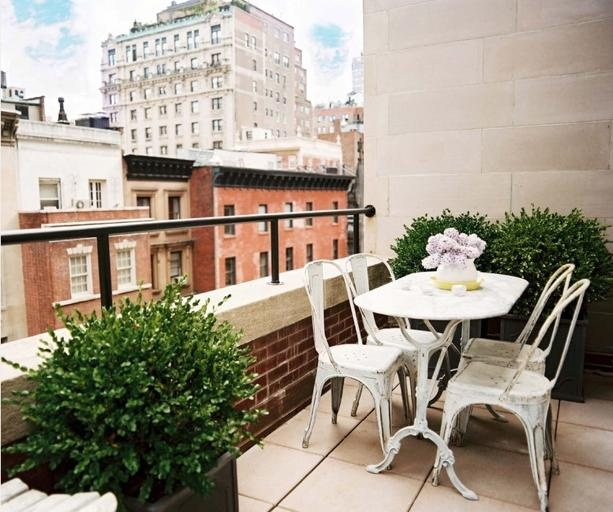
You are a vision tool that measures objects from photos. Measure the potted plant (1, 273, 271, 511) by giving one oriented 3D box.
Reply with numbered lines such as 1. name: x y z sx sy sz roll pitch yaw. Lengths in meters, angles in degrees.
1. potted plant: -0.568 0.494 1.689 0.813 0.751 0.505 -9 13 -40

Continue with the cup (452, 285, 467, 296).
1. cup: 0.809 0.181 2.593 0.053 0.041 0.053 -1 0 0

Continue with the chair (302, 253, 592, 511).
1. chair: 0.678 0.570 2.612 1.338 1.012 0.834 6 12 31
